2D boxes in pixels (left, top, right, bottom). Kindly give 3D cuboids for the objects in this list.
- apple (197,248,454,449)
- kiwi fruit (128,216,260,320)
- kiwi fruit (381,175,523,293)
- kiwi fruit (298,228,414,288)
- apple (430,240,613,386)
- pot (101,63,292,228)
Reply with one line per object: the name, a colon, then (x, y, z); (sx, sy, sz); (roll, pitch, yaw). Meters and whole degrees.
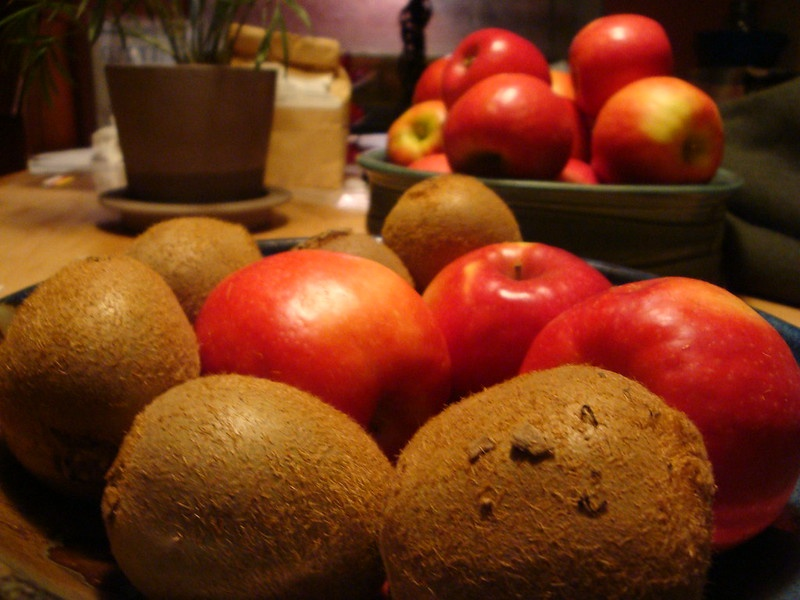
apple: (-0.044, 0.016, 0.467); (0.109, 0.136, 0.133); (14, 31, 3)
kiwi fruit: (-0.151, -0.022, 0.565); (0.067, 0.059, 0.084); (-5, 6, -44)
kiwi fruit: (0.043, -0.062, 0.687); (0.107, 0.104, 0.103); (-14, 63, -10)
kiwi fruit: (-0.039, -0.029, 0.600); (0.042, 0.039, 0.060); (-6, -9, 3)
apple: (0.086, -0.019, 0.533); (0.097, 0.089, 0.106); (12, 14, 32)
pot: (-0.261, -0.187, 0.985); (0.183, 0.173, 0.197); (0, 13, 0)
